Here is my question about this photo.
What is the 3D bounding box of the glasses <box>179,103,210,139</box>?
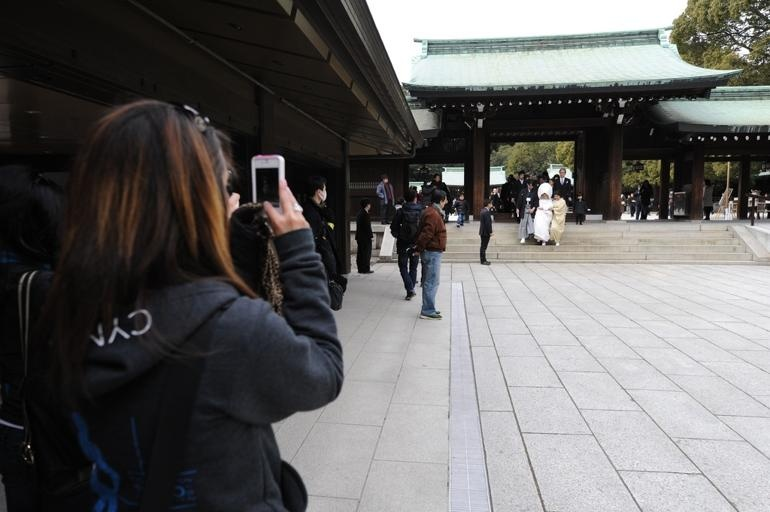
[{"bbox_3d":[-0.616,-0.416,1.772,0.030,0.115,0.089,-34,26,11],"label":"glasses"}]

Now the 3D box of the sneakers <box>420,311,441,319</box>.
[{"bbox_3d":[0.625,0.785,7.492,0.278,0.125,0.101,1,5,6],"label":"sneakers"}]
